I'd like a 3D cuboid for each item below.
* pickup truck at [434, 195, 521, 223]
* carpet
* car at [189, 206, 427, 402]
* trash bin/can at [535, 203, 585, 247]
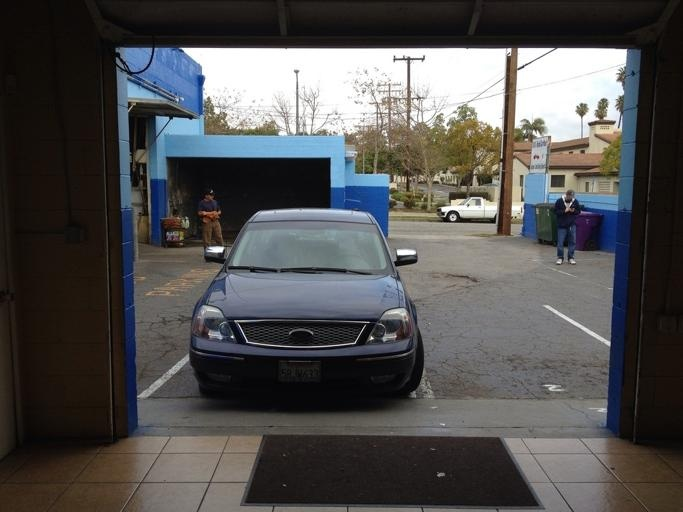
[{"bbox_3d":[9.981,-3.181,39.753,5.274,1.860,2.628,1,4,0],"label":"pickup truck"},{"bbox_3d":[0.376,1.697,4.411,2.161,0.074,0.958,1,7,3],"label":"carpet"},{"bbox_3d":[-0.185,0.564,7.895,2.420,2.017,5.353,0,-1,2],"label":"car"},{"bbox_3d":[8.434,-1.270,21.753,1.442,2.260,2.123,-1,4,1],"label":"trash bin/can"}]
